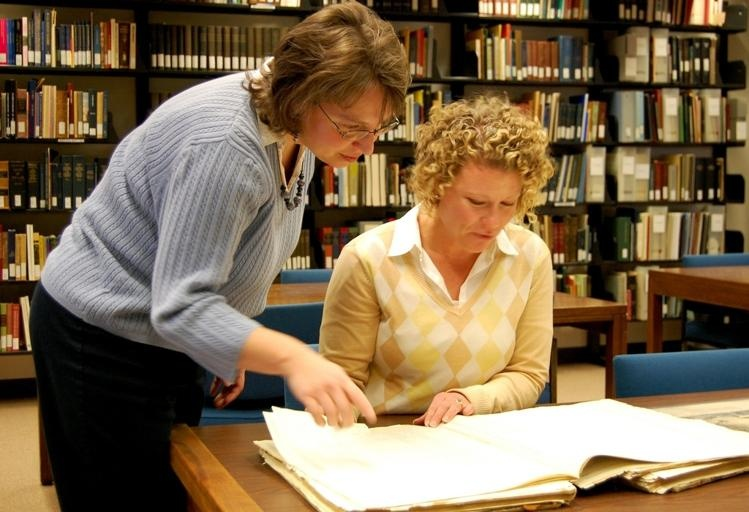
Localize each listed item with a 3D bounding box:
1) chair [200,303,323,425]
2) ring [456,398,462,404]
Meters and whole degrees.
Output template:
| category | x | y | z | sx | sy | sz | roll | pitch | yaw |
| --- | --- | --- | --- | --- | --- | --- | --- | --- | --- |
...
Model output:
| category | x | y | z | sx | sy | sz | roll | pitch | yaw |
| --- | --- | --- | --- | --- | --- | --- | --- | --- | --- |
| chair | -0.474 | 0.412 | 3.062 | 0.472 | 0.621 | 0.427 | 2 | -2 | -29 |
| ring | 0.217 | 0.372 | 1.859 | 0.009 | 0.011 | 0.004 | 5 | 4 | 23 |
